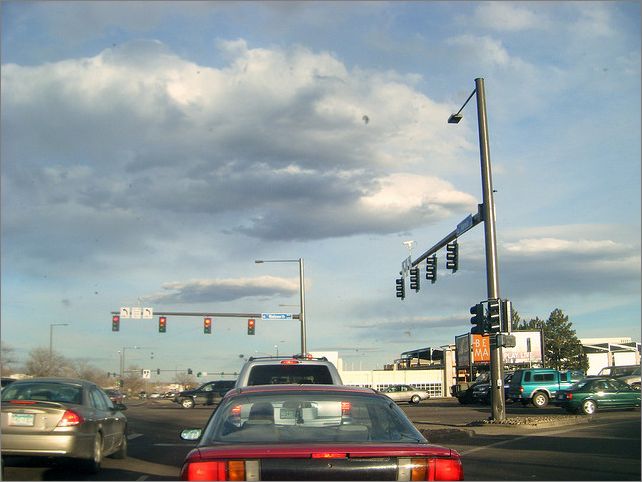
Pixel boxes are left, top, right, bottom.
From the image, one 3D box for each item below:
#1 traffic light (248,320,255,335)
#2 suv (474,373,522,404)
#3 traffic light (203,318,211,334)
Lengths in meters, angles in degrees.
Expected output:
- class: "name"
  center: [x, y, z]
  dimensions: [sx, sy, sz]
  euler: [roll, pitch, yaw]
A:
- class: "traffic light"
  center: [-4.166, 5.112, 48.312]
  dimensions: [0.313, 0.890, 0.446]
  euler: [1, -14, -12]
- class: "suv"
  center: [8.817, 7.888, 43.487]
  dimensions: [3.461, 1.456, 1.703]
  euler: [2, -12, -9]
- class: "traffic light"
  center: [-6.552, 4.881, 46.961]
  dimensions: [0.313, 0.918, 1.045]
  euler: [2, -14, -15]
